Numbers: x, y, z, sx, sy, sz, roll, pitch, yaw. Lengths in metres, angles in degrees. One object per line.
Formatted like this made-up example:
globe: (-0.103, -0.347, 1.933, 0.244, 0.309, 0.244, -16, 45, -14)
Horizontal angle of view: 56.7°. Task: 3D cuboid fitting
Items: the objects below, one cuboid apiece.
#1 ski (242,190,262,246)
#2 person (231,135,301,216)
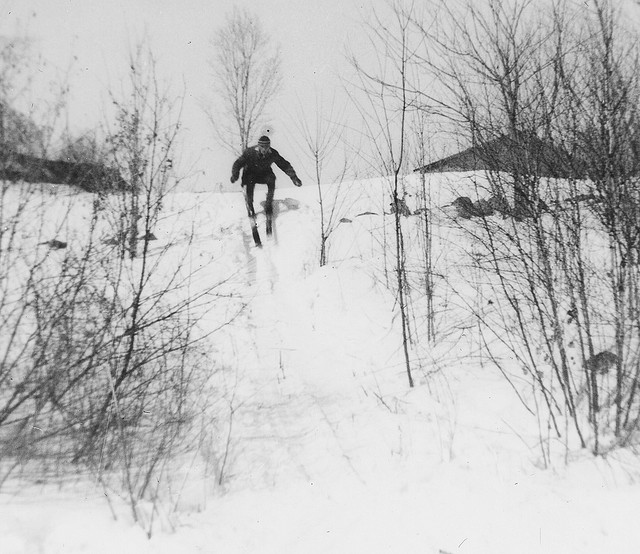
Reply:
ski: (-1.271, -1.227, 10.853, 0.182, 1.304, 0.207, -11, -15, -6)
person: (-1.034, -1.811, 10.778, 1.098, 1.382, 0.690, 0, -4, -7)
